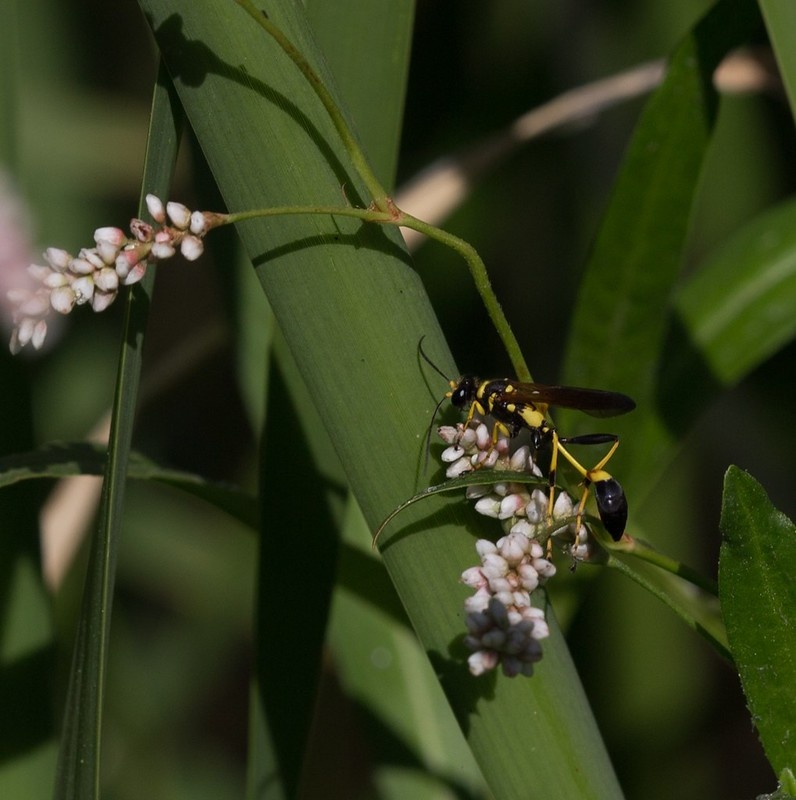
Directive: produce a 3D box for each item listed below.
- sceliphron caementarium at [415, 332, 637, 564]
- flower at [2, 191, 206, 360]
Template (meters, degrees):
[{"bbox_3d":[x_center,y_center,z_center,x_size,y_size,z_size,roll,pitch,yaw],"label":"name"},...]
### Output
[{"bbox_3d":[0.123,0.028,0.947,0.103,0.198,0.142,-56,5,6],"label":"sceliphron caementarium"},{"bbox_3d":[-0.305,-0.126,1.056,0.218,0.083,0.096,-38,-19,-5],"label":"flower"}]
